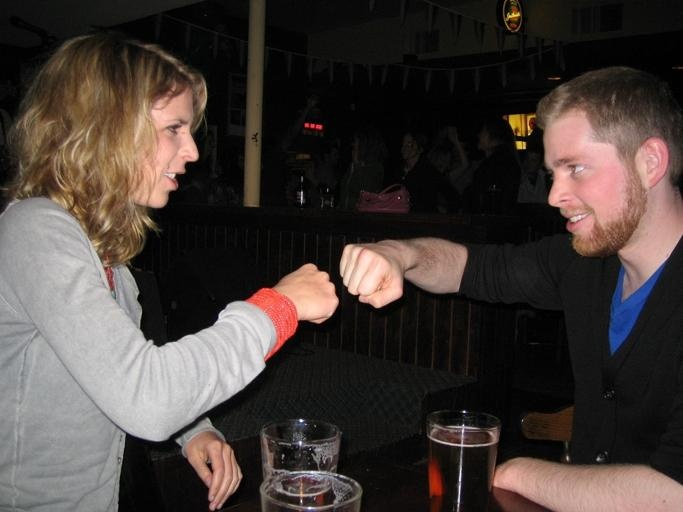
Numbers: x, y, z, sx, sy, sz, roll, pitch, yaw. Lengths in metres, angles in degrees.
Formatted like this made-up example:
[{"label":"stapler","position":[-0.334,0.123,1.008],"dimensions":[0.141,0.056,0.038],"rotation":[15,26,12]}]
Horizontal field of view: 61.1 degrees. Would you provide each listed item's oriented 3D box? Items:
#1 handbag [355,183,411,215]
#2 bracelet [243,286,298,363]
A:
[{"label":"handbag","position":[0.285,-0.402,4.171],"dimensions":[0.342,0.168,0.251],"rotation":[0,12,11]},{"label":"bracelet","position":[-0.175,0.174,1.496],"dimensions":[0.133,0.173,0.071],"rotation":[-24,8,-26]}]
